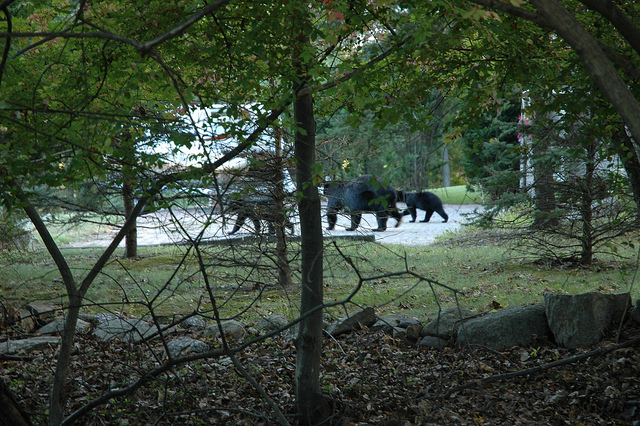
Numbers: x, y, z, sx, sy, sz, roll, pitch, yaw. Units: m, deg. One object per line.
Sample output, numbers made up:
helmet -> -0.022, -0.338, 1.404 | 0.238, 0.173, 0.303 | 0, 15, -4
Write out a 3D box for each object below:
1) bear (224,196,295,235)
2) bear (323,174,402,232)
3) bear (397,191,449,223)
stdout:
bear -> -1.207, 0.037, 9.794 | 1.229, 0.568, 0.350 | -3, 9, -20
bear -> 0.735, -0.207, 12.438 | 2.157, 1.078, 0.684 | 2, 1, 39
bear -> 3.820, -0.274, 24.270 | 2.270, 1.197, 0.599 | 0, 11, 16
